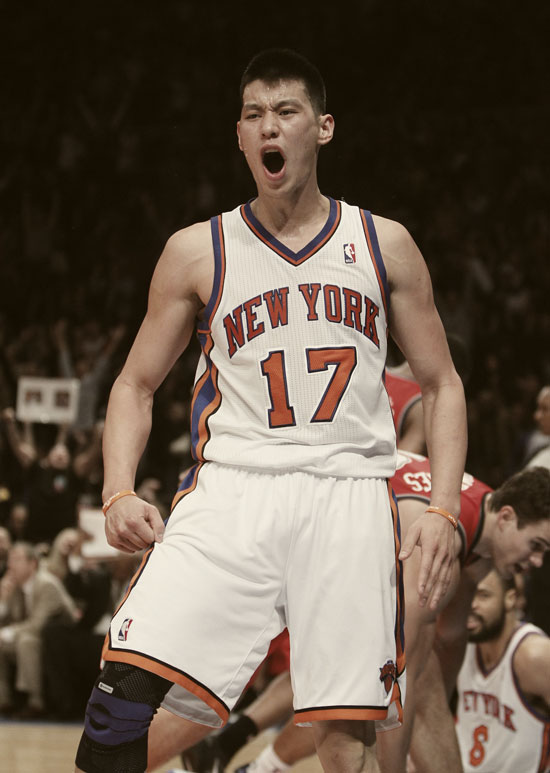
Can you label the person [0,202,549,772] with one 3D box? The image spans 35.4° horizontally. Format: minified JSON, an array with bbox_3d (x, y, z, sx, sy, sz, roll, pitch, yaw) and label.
[{"bbox_3d":[0.010,0.174,1.828,0.815,1.165,0.551,-2,9,4],"label":"person"}]
